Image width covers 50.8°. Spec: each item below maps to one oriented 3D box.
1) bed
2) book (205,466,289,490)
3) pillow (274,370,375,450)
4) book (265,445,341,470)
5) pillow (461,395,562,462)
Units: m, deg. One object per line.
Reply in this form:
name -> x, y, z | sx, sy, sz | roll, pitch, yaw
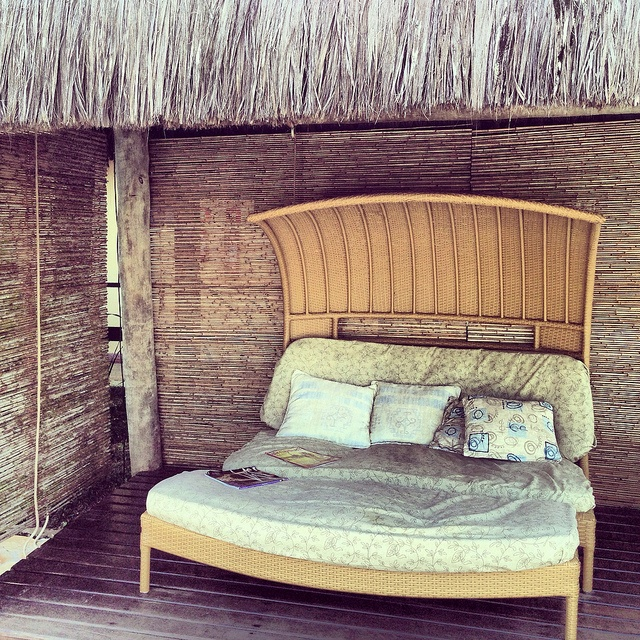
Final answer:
bed -> 0.393, 0.455, 3.733 | 2.620, 2.062, 1.335 | 3, 3, 24
book -> -0.382, 0.776, 3.365 | 0.274, 0.030, 0.358 | -8, 13, -42
pillow -> 0.054, 0.526, 4.129 | 0.553, 0.317, 0.519 | 2, 11, 8
book -> -0.097, 0.732, 3.633 | 0.355, 0.026, 0.280 | 9, 13, 40
pillow -> 1.059, 0.599, 3.732 | 0.527, 0.275, 0.346 | 3, 11, 11
